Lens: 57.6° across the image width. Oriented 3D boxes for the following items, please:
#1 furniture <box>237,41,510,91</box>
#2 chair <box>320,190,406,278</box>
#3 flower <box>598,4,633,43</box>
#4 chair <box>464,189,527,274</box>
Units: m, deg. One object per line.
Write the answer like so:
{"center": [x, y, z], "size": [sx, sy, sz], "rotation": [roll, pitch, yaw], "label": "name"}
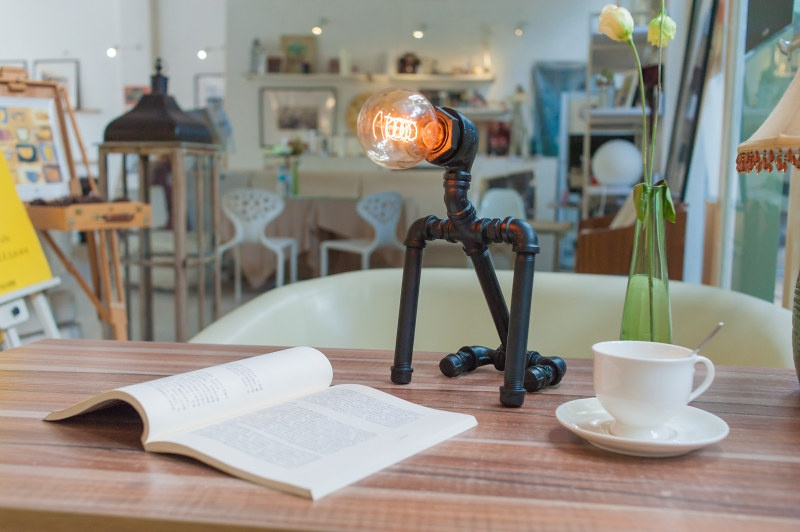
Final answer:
{"center": [-0.008, -1.412, 5.254], "size": [1.531, 0.255, 0.239], "rotation": [-3, 12, -19], "label": "furniture"}
{"center": [-0.156, -0.177, 3.771], "size": [0.226, 0.361, 1.039], "rotation": [4, 11, 19], "label": "chair"}
{"center": [0.409, -0.462, 1.388], "size": [0.059, 0.079, 0.117], "rotation": [3, 11, 15], "label": "flower"}
{"center": [0.738, -0.248, 5.239], "size": [0.335, 0.556, 1.096], "rotation": [2, 11, 10], "label": "chair"}
